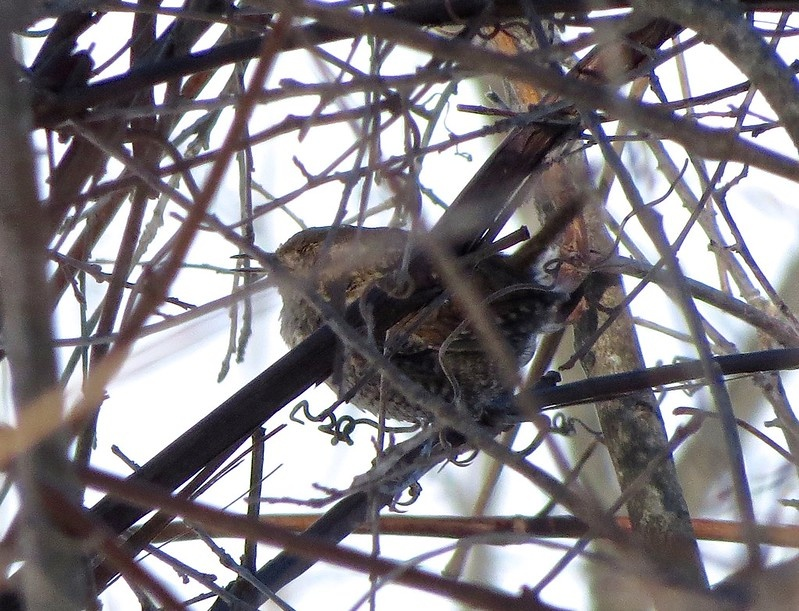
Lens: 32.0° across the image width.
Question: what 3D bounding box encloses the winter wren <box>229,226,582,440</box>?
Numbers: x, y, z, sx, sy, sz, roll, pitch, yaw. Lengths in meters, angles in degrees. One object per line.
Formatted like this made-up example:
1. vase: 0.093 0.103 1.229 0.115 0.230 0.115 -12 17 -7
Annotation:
1. winter wren: 0.070 0.040 3.715 0.993 0.411 0.749 4 -70 8
